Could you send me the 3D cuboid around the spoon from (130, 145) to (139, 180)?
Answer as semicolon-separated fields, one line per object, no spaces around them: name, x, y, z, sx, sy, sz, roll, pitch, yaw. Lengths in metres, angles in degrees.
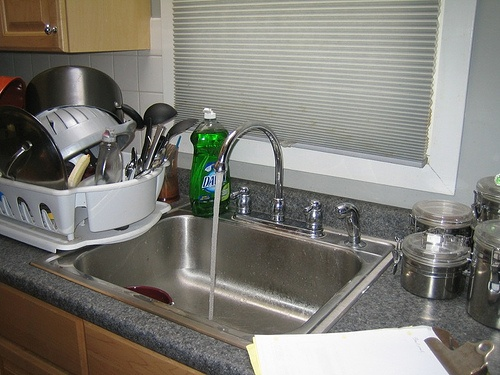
spoon;-0.355;-0.073;1.161;0.022;0.021;0.103;-9;56;18

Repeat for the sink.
sink;-0.119;0.301;1.131;0.646;0.227;0.472;15;22;32

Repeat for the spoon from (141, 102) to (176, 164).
spoon;-0.311;-0.207;1.252;0.071;0.265;0.040;2;-22;23

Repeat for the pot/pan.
pot/pan;-0.566;-0.297;1.201;0.287;0.170;0.144;-8;22;-27
